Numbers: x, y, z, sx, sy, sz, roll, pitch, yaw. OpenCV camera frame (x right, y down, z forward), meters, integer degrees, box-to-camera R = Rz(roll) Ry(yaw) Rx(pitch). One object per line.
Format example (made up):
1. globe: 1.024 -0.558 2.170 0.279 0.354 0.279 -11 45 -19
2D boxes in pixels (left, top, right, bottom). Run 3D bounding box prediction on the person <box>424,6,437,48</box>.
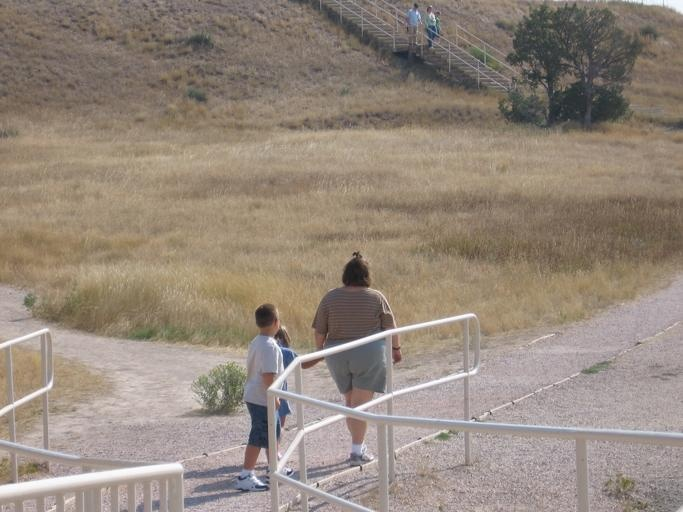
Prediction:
1. person: 5.229 -13.297 91.239 0.891 1.012 3.170 -13 -17 4
